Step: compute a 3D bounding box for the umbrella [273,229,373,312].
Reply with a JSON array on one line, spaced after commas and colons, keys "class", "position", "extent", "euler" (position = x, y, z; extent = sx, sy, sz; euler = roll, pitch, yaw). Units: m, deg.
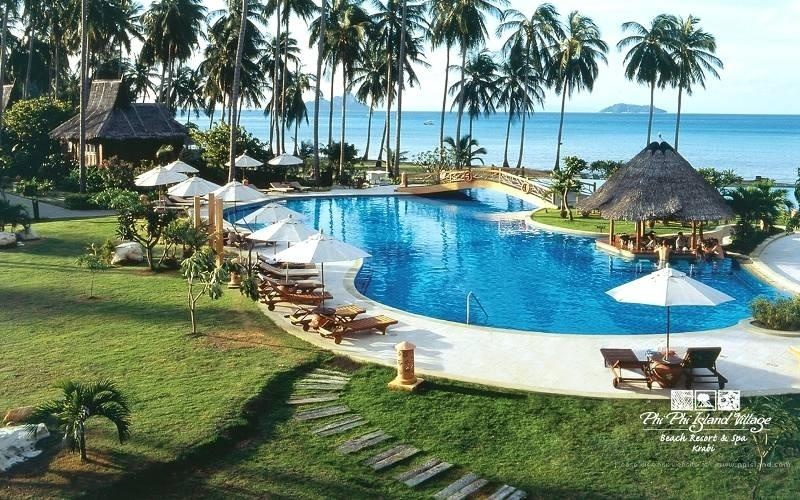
[{"class": "umbrella", "position": [-2.490, 0.301, 18.805], "extent": [2.593, 1.923, 2.532], "euler": [11, 17, 31]}]

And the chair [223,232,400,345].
[{"class": "chair", "position": [-1.998, 1.047, 17.906], "extent": [3.256, 3.161, 1.760], "euler": [6, 7, 32]}]

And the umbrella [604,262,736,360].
[{"class": "umbrella", "position": [7.191, 1.669, 15.375], "extent": [3.192, 2.148, 3.219], "euler": [2, 0, 30]}]
